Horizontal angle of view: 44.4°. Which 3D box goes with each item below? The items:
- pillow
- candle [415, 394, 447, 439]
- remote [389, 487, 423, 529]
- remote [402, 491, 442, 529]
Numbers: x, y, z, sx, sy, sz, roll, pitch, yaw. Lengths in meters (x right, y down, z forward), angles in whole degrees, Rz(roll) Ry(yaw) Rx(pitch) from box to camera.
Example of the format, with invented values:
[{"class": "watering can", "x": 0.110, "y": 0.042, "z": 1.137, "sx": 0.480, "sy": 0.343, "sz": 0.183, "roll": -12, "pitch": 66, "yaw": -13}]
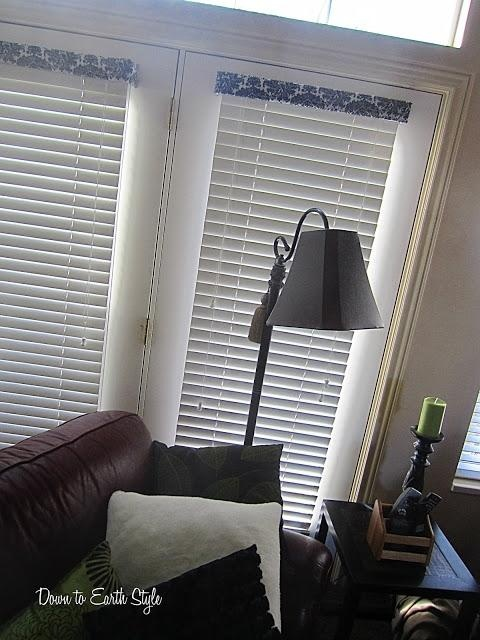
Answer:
[{"class": "pillow", "x": -0.160, "y": 0.486, "z": 1.408, "sx": 0.348, "sy": 0.360, "sz": 0.140, "roll": -7, "pitch": -1, "yaw": 22}, {"class": "candle", "x": 0.564, "y": 0.280, "z": 1.721, "sx": 0.086, "sy": 0.104, "sz": 0.088, "roll": 8, "pitch": 18, "yaw": 9}, {"class": "remote", "x": 0.477, "y": 0.513, "z": 1.662, "sx": 0.062, "sy": 0.119, "sz": 0.078, "roll": 23, "pitch": 21, "yaw": 17}, {"class": "remote", "x": 0.500, "y": 0.523, "z": 1.631, "sx": 0.102, "sy": 0.106, "sz": 0.033, "roll": -7, "pitch": 18, "yaw": -4}]
